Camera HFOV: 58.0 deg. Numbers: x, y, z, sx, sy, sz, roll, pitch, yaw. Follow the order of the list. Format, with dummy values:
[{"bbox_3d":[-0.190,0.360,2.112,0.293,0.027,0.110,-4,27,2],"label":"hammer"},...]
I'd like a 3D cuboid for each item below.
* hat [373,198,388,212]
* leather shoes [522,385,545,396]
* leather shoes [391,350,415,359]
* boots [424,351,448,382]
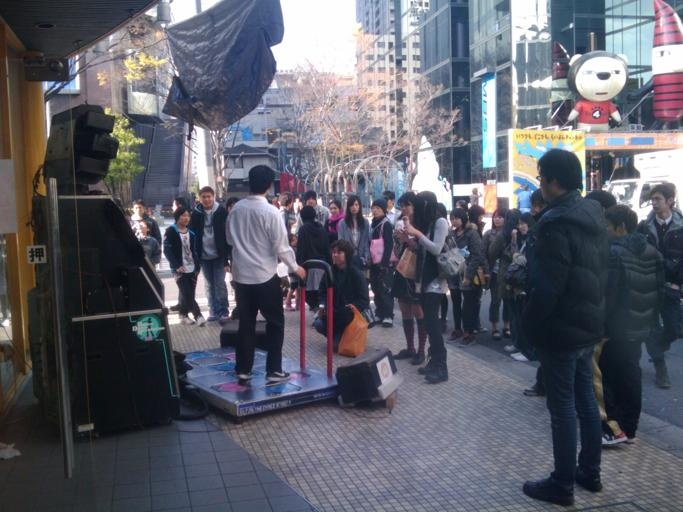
[{"bbox_3d":[0.640,-0.856,10.439,0.172,0.182,0.227,12,16,30],"label":"hat"},{"bbox_3d":[2.214,1.554,7.121,0.218,0.098,0.097,6,-11,3],"label":"leather shoes"},{"bbox_3d":[0.851,1.347,8.514,0.307,0.128,0.116,0,-3,1],"label":"leather shoes"},{"bbox_3d":[1.165,1.390,7.561,0.173,0.368,0.483,-5,-14,31],"label":"boots"}]
